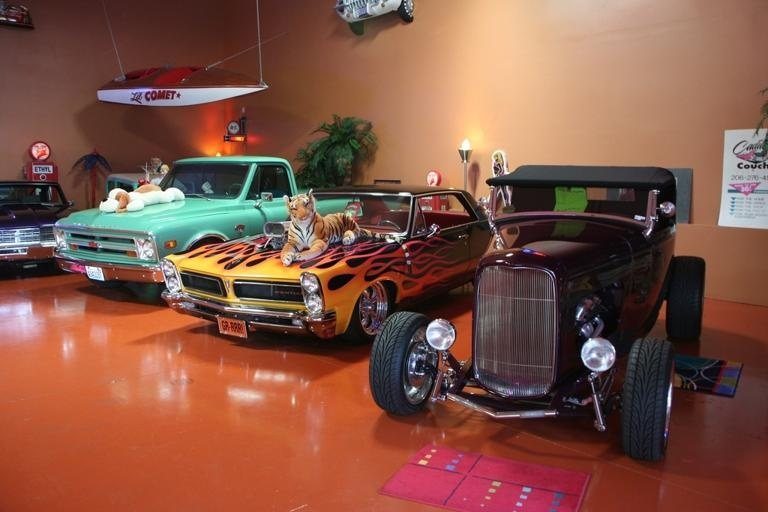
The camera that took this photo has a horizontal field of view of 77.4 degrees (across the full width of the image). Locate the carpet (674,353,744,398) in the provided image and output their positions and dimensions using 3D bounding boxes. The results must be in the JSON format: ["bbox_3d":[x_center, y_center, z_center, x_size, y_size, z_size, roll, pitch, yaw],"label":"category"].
[{"bbox_3d":[3.042,1.146,4.527,0.448,0.023,0.406,0,22,36],"label":"carpet"}]

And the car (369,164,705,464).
[{"bbox_3d":[1.768,0.190,4.633,2.148,1.819,3.783,2,12,36],"label":"car"}]

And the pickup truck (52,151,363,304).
[{"bbox_3d":[-2.535,-0.755,8.242,2.677,1.857,4.813,6,14,27],"label":"pickup truck"}]

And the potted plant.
[{"bbox_3d":[-1.058,-2.209,10.108,1.150,1.439,1.039,-7,15,2],"label":"potted plant"}]

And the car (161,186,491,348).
[{"bbox_3d":[-0.125,0.084,5.823,1.849,1.099,3.437,3,8,35],"label":"car"}]

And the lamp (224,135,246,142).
[{"bbox_3d":[-3.777,-2.986,12.183,0.619,0.189,0.174,7,16,24],"label":"lamp"}]
